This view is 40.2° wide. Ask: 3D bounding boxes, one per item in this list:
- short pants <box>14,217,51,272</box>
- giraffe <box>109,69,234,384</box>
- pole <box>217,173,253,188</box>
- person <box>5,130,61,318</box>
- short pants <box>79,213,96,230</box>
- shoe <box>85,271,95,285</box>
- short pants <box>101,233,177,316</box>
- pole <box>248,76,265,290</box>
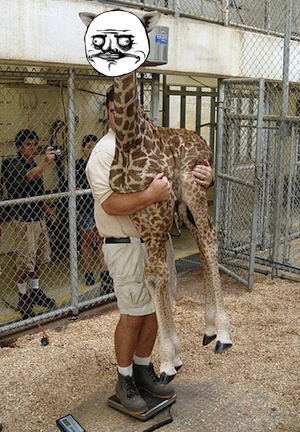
[{"bbox_3d":[-1.246,0.288,4.315,0.229,0.548,0.384,1,6,19],"label":"short pants"},{"bbox_3d":[0.052,0.124,1.681,0.688,1.217,0.417,-6,8,-43],"label":"giraffe"},{"bbox_3d":[0.970,-0.427,4.801,0.097,0.106,0.643,-1,13,-36],"label":"pole"},{"bbox_3d":[-1.200,0.057,4.249,0.533,1.852,1.251,-2,6,-12],"label":"person"},{"bbox_3d":[-0.743,0.066,4.799,0.254,0.238,0.062,0,2,9],"label":"short pants"},{"bbox_3d":[-0.736,0.779,5.033,0.095,0.143,0.074,-4,7,-29],"label":"shoe"},{"bbox_3d":[-0.059,0.237,2.447,0.415,0.673,0.519,-5,4,17],"label":"short pants"},{"bbox_3d":[1.188,-0.311,4.616,0.136,2.390,0.443,1,6,13],"label":"pole"}]
